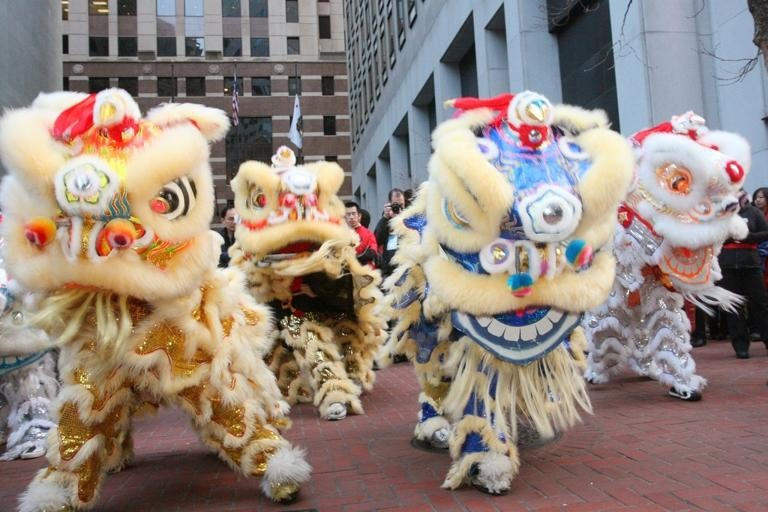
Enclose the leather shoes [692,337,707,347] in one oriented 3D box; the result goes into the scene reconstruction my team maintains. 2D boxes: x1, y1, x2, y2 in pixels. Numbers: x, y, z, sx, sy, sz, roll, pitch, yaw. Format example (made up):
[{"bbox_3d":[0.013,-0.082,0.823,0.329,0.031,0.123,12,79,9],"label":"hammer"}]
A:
[{"bbox_3d":[4.053,1.138,9.798,0.224,0.094,0.092,2,-4,-28],"label":"leather shoes"}]
